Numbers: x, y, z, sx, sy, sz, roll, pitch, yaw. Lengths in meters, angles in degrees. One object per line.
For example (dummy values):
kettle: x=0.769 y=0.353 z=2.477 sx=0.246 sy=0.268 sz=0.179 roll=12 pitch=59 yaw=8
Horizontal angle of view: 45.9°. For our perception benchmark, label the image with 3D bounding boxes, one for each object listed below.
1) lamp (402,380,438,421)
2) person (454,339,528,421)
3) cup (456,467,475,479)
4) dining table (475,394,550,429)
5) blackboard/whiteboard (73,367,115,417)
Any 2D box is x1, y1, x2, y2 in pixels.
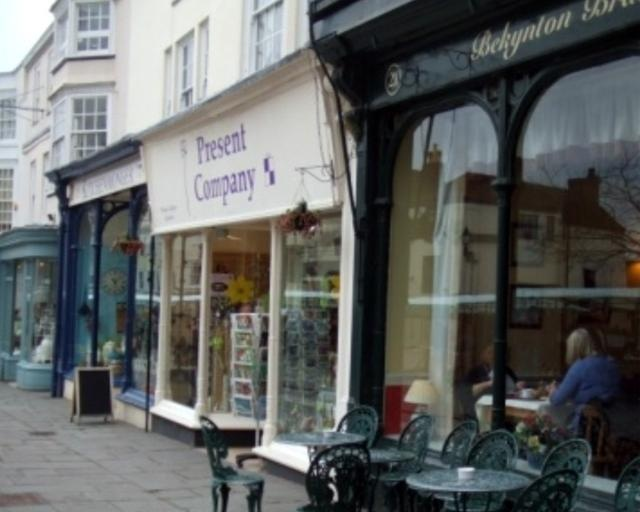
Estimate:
lamp: x=1.038 y=1.487 z=7.837 sx=0.335 sy=0.440 sz=0.334 roll=4 pitch=-6 yaw=-43
person: x=1.640 y=1.259 z=7.329 sx=0.571 sy=1.257 sz=0.580 roll=6 pitch=23 yaw=25
cup: x=1.059 y=1.581 z=5.559 sx=0.094 sy=0.066 sz=0.103 roll=-2 pitch=-9 yaw=0
dining table: x=1.682 y=1.459 z=6.899 sx=0.209 sy=0.353 sz=0.805 roll=4 pitch=-7 yaw=-39
blackboard/whiteboard: x=-3.994 y=2.399 z=13.338 sx=0.775 sy=1.263 sz=0.752 roll=2 pitch=-2 yaw=-22
